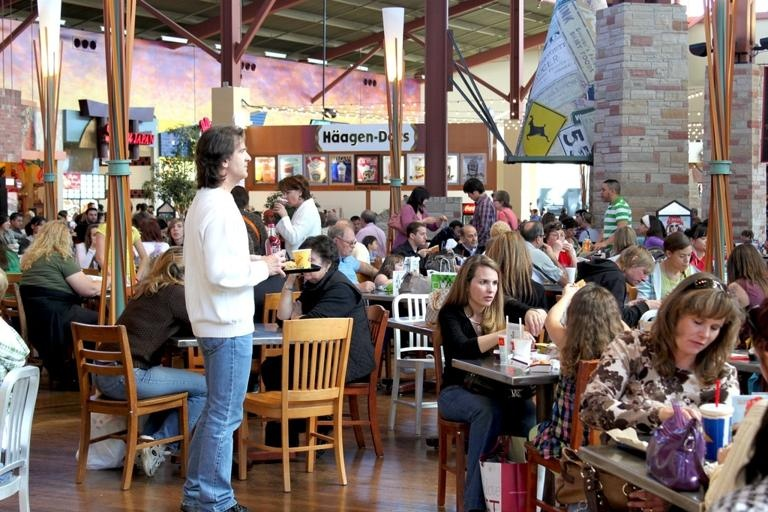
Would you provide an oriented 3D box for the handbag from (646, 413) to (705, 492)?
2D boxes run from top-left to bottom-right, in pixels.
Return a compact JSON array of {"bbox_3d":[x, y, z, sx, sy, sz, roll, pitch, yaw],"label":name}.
[{"bbox_3d":[1.070,0.706,2.546,0.191,0.273,0.111,0,4,1],"label":"handbag"}]

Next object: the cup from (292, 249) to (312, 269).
[{"bbox_3d":[-0.530,0.017,4.560,0.111,0.091,0.114,-1,-5,0],"label":"cup"}]

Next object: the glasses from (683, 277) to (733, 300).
[{"bbox_3d":[1.431,0.133,3.085,0.205,0.070,0.055,0,5,-3],"label":"glasses"}]
